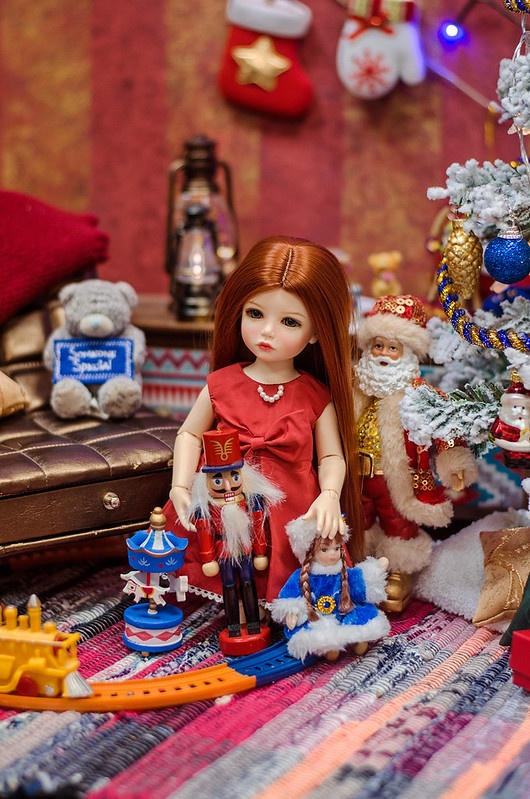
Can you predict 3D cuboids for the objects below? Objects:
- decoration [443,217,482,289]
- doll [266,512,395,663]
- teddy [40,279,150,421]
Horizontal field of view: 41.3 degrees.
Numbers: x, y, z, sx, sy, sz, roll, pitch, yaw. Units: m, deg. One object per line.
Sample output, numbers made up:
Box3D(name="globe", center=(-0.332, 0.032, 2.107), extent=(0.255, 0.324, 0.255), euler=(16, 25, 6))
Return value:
Box3D(name="decoration", center=(0.478, -0.344, 1.696), extent=(0.089, 0.185, 0.128), euler=(1, 5, 9))
Box3D(name="doll", center=(0.130, 0.419, 1.536), extent=(0.328, 0.320, 0.242), euler=(-5, 6, -14))
Box3D(name="teddy", center=(-0.504, -0.164, 2.111), extent=(0.414, 0.489, 0.409), euler=(1, 10, -8))
